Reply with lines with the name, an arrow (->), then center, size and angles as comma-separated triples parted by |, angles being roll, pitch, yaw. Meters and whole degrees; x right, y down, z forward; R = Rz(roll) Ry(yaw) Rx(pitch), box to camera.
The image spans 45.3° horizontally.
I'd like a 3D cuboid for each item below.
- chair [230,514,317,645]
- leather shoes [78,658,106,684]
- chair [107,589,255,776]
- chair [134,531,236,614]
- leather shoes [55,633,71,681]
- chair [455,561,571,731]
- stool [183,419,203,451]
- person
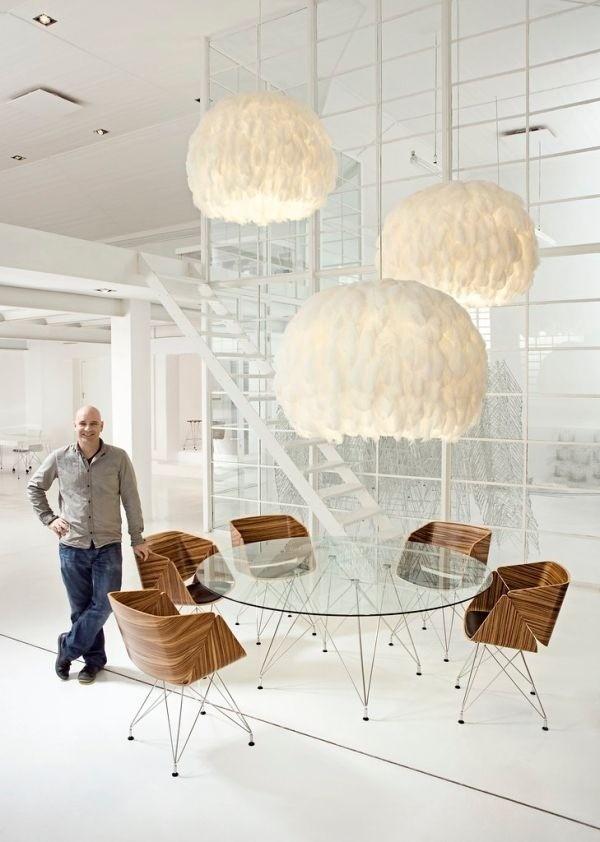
chair -> -0.155, 1.036, 4.712 | 0.509, 0.761, 0.532 | -5, 4, -29
leather shoes -> -1.102, 1.332, 3.787 | 0.060, 0.067, 0.169 | 0, -5, 3
chair -> -0.513, 1.103, 3.151 | 0.428, 0.769, 0.535 | 6, 10, 41
chair -> -0.665, 0.922, 4.139 | 0.423, 0.497, 0.413 | 7, 10, 18
leather shoes -> -1.256, 1.266, 3.844 | 0.091, 0.241, 0.087 | 0, -8, 27
chair -> 0.988, 1.055, 3.416 | 0.489, 0.714, 0.461 | 4, 0, 20
stool -> -2.251, 0.284, 14.995 | 0.361, 0.613, 0.321 | -1, 4, -12
person -> -1.119, 0.649, 3.805 | 0.614, 1.429, 0.361 | -1, 4, -11
